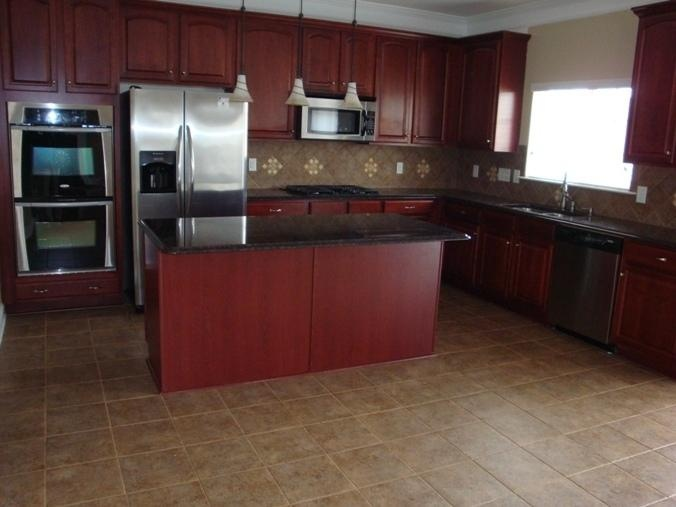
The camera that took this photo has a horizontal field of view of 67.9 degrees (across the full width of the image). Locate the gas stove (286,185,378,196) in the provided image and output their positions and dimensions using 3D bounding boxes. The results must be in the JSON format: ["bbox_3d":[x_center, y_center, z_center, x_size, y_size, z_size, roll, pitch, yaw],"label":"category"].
[{"bbox_3d":[-0.079,-0.743,5.931,1.073,0.076,0.708,-4,14,-16],"label":"gas stove"}]

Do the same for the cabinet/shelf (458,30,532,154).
[{"bbox_3d":[1.825,-1.892,5.954,0.714,1.308,0.442,5,14,18],"label":"cabinet/shelf"}]

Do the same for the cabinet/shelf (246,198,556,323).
[{"bbox_3d":[1.092,-0.072,5.786,2.435,1.135,1.075,5,14,19],"label":"cabinet/shelf"}]

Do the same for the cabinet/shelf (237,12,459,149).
[{"bbox_3d":[0.167,-1.958,6.029,2.579,1.307,0.430,-4,15,-23],"label":"cabinet/shelf"}]
